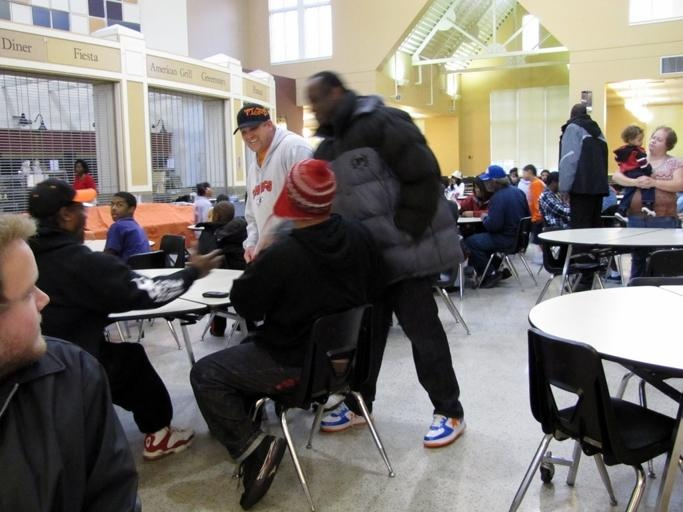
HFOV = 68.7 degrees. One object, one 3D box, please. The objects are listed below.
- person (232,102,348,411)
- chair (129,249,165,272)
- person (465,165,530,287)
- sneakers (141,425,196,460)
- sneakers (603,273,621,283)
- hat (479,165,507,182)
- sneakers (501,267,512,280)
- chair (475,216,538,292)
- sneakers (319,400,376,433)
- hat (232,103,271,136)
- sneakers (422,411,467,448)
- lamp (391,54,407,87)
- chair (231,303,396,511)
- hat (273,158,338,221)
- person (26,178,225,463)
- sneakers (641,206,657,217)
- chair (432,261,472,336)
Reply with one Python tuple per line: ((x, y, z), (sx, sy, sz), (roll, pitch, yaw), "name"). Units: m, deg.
((-0.469, -0.011, 3.439), (0.628, 2.012, 0.655), (-4, 13, -27), "person")
((-1.743, 0.036, 4.364), (0.173, 0.244, 0.153), (7, 9, 23), "chair")
((2.077, -0.417, 6.650), (0.819, 1.551, 0.868), (2, 13, 19), "person")
((-0.966, 1.006, 2.807), (0.117, 0.148, 0.303), (5, 10, 41), "sneakers")
((3.438, 0.271, 6.278), (0.264, 0.141, 0.438), (0, -1, 29), "sneakers")
((2.032, -1.113, 6.751), (0.366, 0.228, 0.238), (-3, 13, 25), "hat")
((2.241, 0.223, 6.777), (0.143, 0.141, 0.262), (-2, -10, 10), "sneakers")
((2.372, -0.053, 6.858), (0.938, 1.281, 0.848), (2, 4, 22), "chair")
((0.046, 0.948, 3.056), (0.387, 0.172, 0.142), (1, -3, -38), "sneakers")
((-0.578, -0.902, 3.272), (0.190, 0.140, 0.262), (-8, 18, 43), "hat")
((0.579, 0.947, 2.766), (0.107, 0.140, 0.302), (-7, -5, 41), "sneakers")
((1.926, -6.369, 16.990), (0.240, 1.050, 0.766), (3, 17, 35), "lamp")
((-0.074, 0.600, 2.792), (0.888, 1.238, 0.788), (9, 9, 43), "chair")
((-0.142, -0.282, 2.194), (0.294, 0.196, 0.204), (4, -34, 13), "hat")
((-0.955, 0.336, 2.499), (0.932, 1.330, 0.915), (-5, -2, 23), "person")
((3.239, -0.468, 5.233), (0.169, 0.088, 0.060), (12, -10, -43), "sneakers")
((1.057, 0.466, 5.125), (0.558, 0.812, 0.507), (-2, 2, -2), "chair")
